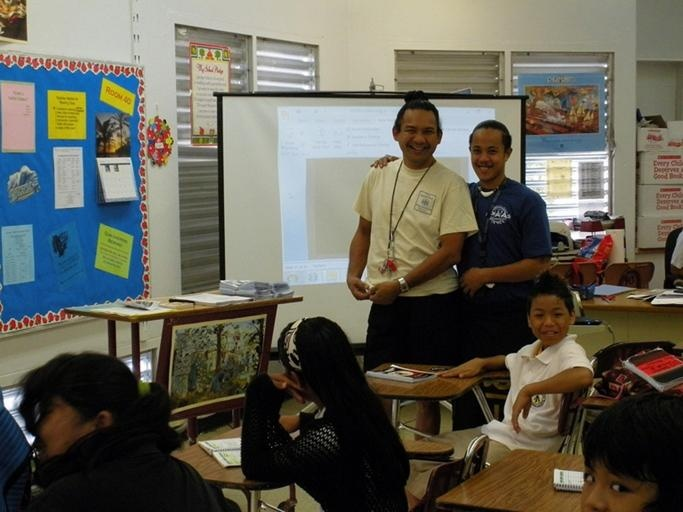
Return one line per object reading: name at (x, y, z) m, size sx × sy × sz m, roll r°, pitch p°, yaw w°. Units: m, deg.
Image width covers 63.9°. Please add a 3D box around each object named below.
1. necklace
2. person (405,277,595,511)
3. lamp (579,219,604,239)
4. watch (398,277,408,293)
necklace at (0.317, -0.228, 3.032) m, size 0.260 × 0.654 × 0.087 m, roll 5°, pitch -14°, yaw 19°
person at (0.536, 0.556, 2.730) m, size 0.776 × 1.253 × 0.804 m, roll 5°, pitch -4°, yaw -13°
lamp at (2.749, -0.305, 6.080) m, size 0.203 × 0.315 × 0.207 m, roll 0°, pitch 4°, yaw -9°
watch at (0.321, 0.152, 2.858) m, size 0.049 × 0.079 × 0.074 m, roll -6°, pitch 5°, yaw 3°
